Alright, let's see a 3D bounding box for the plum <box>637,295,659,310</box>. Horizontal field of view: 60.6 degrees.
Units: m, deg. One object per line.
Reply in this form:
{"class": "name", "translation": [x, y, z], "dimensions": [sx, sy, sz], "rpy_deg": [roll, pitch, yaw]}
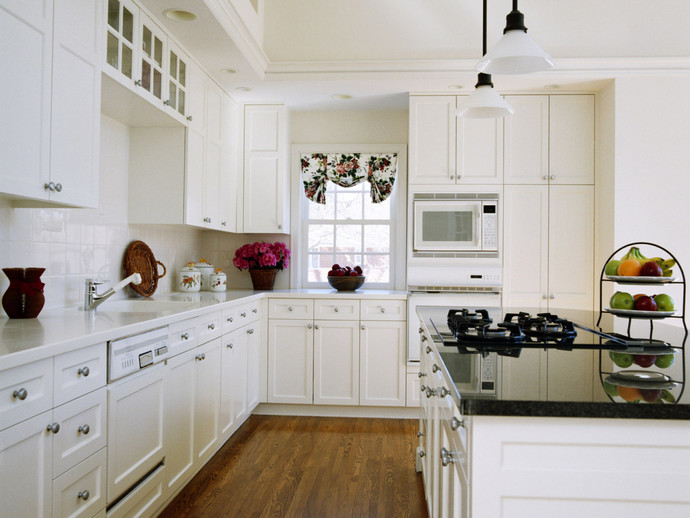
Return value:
{"class": "plum", "translation": [1.341, 0.190, 2.605], "dimensions": [0.063, 0.068, 0.066], "rpy_deg": [-1, 0, 14]}

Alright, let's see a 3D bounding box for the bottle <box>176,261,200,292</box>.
{"class": "bottle", "translation": [-1.144, 0.139, 4.312], "dimensions": [0.180, 0.222, 0.194], "rpy_deg": [0, 0, 5]}

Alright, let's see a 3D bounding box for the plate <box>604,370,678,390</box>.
{"class": "plate", "translation": [1.035, 0.422, 2.075], "dimensions": [0.223, 0.018, 0.172], "rpy_deg": [3, 7, 17]}

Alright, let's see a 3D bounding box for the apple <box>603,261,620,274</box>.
{"class": "apple", "translation": [1.254, 0.042, 2.761], "dimensions": [0.065, 0.083, 0.065], "rpy_deg": [-9, -13, 42]}

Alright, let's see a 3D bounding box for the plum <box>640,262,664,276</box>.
{"class": "plum", "translation": [1.392, 0.046, 2.677], "dimensions": [0.066, 0.077, 0.085], "rpy_deg": [2, 0, 7]}

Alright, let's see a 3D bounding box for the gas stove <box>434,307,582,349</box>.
{"class": "gas stove", "translation": [0.785, 0.309, 2.755], "dimensions": [0.624, 0.065, 0.710], "rpy_deg": [2, 6, 4]}

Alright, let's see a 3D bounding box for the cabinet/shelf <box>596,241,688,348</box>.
{"class": "cabinet/shelf", "translation": [1.591, 0.186, 3.113], "dimensions": [0.525, 0.662, 0.474], "rpy_deg": [-2, -5, 40]}

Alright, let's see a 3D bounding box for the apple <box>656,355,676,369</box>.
{"class": "apple", "translation": [1.232, 0.391, 2.260], "dimensions": [0.045, 0.041, 0.092], "rpy_deg": [-1, -1, 21]}

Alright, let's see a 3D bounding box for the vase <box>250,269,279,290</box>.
{"class": "vase", "translation": [-0.670, 0.165, 4.806], "dimensions": [0.206, 0.165, 0.177], "rpy_deg": [0, -10, -1]}

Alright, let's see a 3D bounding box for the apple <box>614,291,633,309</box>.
{"class": "apple", "translation": [1.245, 0.188, 2.658], "dimensions": [0.072, 0.081, 0.071], "rpy_deg": [-1, -13, 44]}

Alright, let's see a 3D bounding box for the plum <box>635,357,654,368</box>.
{"class": "plum", "translation": [1.154, 0.396, 2.268], "dimensions": [0.041, 0.045, 0.042], "rpy_deg": [2, -2, 11]}

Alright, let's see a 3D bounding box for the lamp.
{"class": "lamp", "translation": [0.749, -0.992, 2.794], "dimensions": [0.325, 0.581, 0.611], "rpy_deg": [1, 6, -2]}

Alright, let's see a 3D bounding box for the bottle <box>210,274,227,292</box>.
{"class": "bottle", "translation": [-0.974, 0.194, 4.607], "dimensions": [0.123, 0.146, 0.127], "rpy_deg": [-1, -1, 26]}

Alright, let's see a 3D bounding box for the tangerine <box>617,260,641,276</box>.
{"class": "tangerine", "translation": [1.294, 0.042, 2.679], "dimensions": [0.074, 0.084, 0.080], "rpy_deg": [1, -5, 15]}

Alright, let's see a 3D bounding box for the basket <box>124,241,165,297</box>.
{"class": "basket", "translation": [-1.350, 0.059, 3.944], "dimensions": [0.135, 0.364, 0.355], "rpy_deg": [-7, -3, 14]}

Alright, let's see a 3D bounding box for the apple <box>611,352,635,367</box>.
{"class": "apple", "translation": [1.076, 0.393, 2.296], "dimensions": [0.052, 0.061, 0.055], "rpy_deg": [-12, 33, 28]}

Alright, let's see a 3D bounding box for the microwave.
{"class": "microwave", "translation": [0.820, -0.252, 4.279], "dimensions": [0.615, 0.418, 0.405], "rpy_deg": [0, -4, 4]}

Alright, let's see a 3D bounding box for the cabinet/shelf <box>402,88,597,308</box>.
{"class": "cabinet/shelf", "translation": [1.224, -0.408, 4.426], "dimensions": [1.539, 2.173, 0.675], "rpy_deg": [0, -2, 6]}
